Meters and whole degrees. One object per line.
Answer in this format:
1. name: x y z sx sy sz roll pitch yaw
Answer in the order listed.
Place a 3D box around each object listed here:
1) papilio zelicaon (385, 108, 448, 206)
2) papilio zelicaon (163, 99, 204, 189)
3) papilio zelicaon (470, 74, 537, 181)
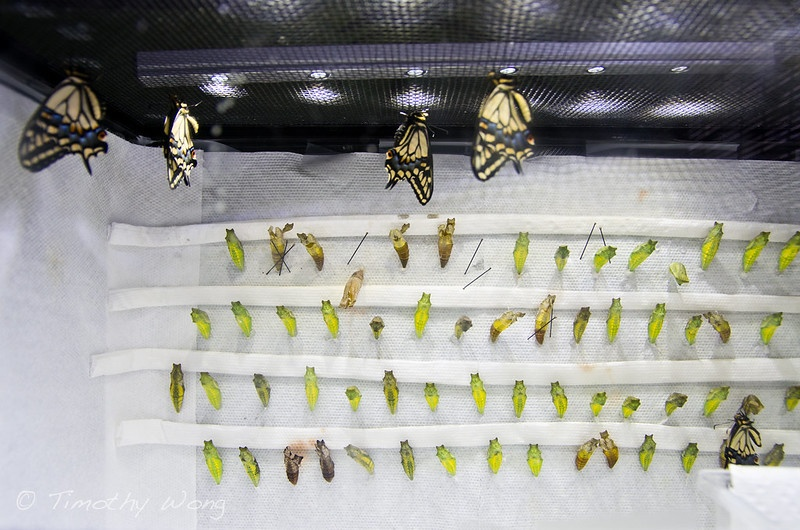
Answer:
1. papilio zelicaon: 0.046 -0.604 3.764 0.258 0.500 0.128 0 9 -2
2. papilio zelicaon: -1.208 -0.678 3.675 0.166 0.439 0.451 8 13 14
3. papilio zelicaon: 0.501 -0.686 3.312 0.327 0.519 0.132 -4 10 -26
